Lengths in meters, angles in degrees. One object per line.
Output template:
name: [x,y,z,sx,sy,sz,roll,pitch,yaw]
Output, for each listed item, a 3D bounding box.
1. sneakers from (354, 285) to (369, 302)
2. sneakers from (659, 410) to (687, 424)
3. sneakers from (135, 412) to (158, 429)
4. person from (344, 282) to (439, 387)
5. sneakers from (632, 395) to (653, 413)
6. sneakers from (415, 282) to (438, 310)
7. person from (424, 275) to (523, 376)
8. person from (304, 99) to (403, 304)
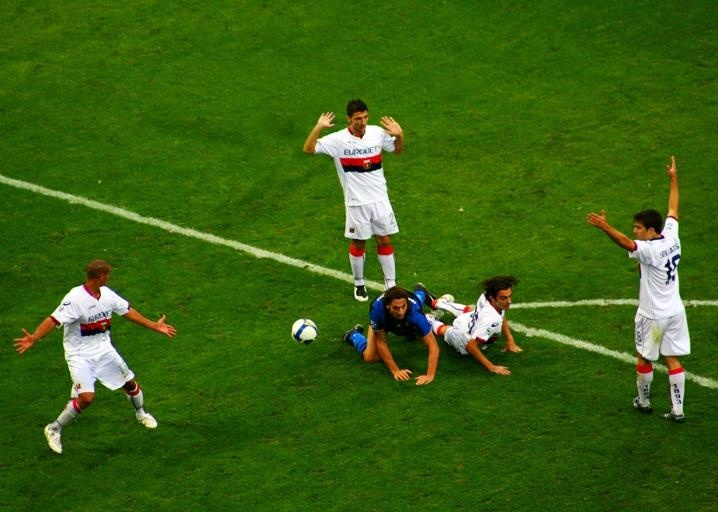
sneakers: [0.029,0.591,19.925,0.162,0.126,0.298,-4,23,-7]
sneakers: [4.307,2.210,17.872,0.336,0.135,0.124,11,20,35]
sneakers: [-2.939,2.297,18.135,0.317,0.153,0.133,32,17,11]
person: [0.438,1.061,18.770,1.299,1.442,1.218,-9,15,-3]
sneakers: [3.905,2.083,18.012,0.147,0.148,0.344,-12,23,-12]
sneakers: [0.989,0.618,19.424,0.173,0.410,0.248,-42,6,45]
person: [1.710,0.934,18.573,1.713,1.088,1.005,16,43,31]
person: [0.095,-0.852,19.835,1.380,3.044,0.992,-8,16,4]
